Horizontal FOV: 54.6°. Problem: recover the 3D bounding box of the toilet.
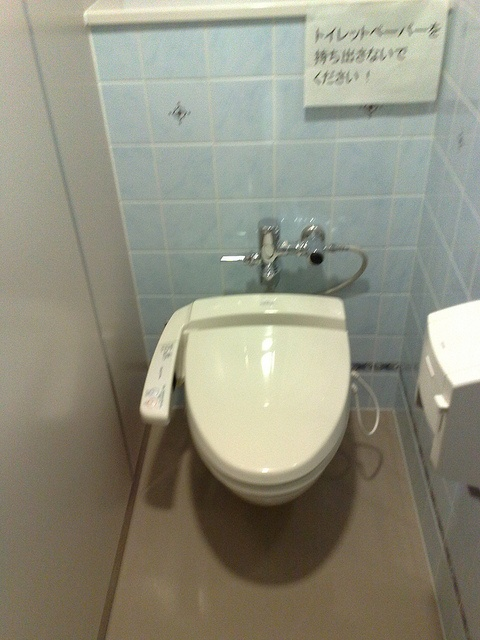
[{"bbox_3d":[0.064,0.232,1.150,0.369,0.368,0.582,0,29,8],"label":"toilet"}]
